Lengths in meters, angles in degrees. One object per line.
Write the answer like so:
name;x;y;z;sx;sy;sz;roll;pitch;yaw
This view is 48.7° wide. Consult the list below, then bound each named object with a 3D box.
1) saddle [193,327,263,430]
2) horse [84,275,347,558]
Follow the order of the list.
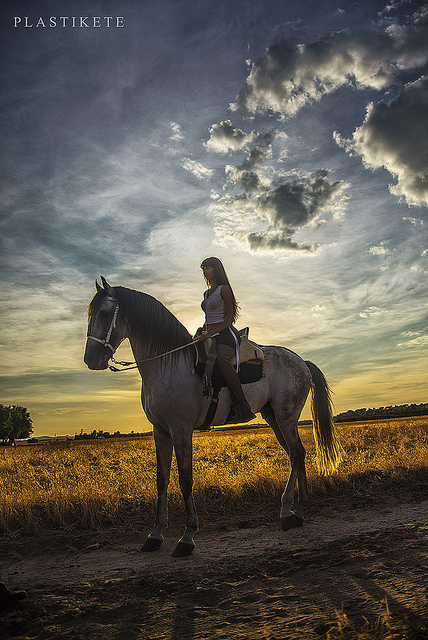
saddle;0.048;0.939;7.484;1.196;1.668;1.010;5;3;-30
horse;0.199;1.472;7.480;4.637;3.838;1.018;6;-17;-23
